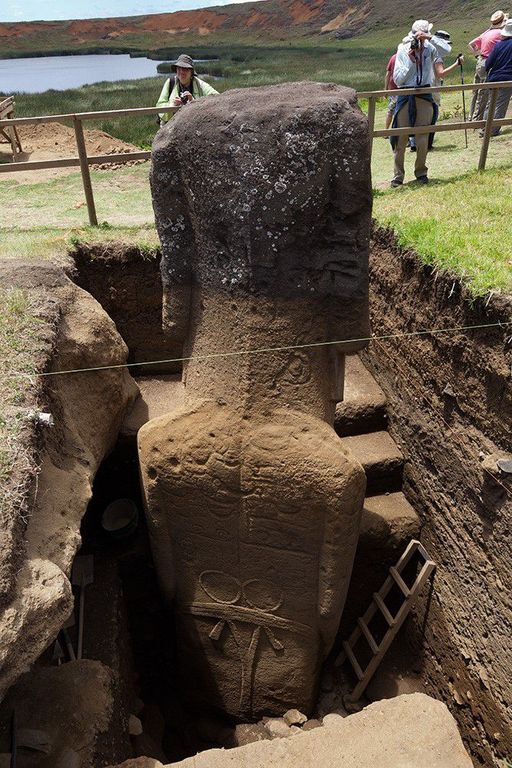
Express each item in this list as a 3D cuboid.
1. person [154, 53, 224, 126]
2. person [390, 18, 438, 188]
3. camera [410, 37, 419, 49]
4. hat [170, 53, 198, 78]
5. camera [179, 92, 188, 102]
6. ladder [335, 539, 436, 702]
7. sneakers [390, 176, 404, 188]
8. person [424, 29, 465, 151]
[{"bbox_3d":[-0.694,-2.698,5.571,0.520,0.522,0.990,-18,31,-24],"label":"person"},{"bbox_3d":[1.567,-2.792,6.118,0.413,1.483,0.684,3,29,14],"label":"person"},{"bbox_3d":[1.508,-3.248,5.792,0.077,0.112,0.130,2,28,12],"label":"camera"},{"bbox_3d":[-0.623,-2.690,5.201,0.271,0.181,0.325,-2,25,-5],"label":"hat"},{"bbox_3d":[-0.643,-2.568,5.447,0.086,0.035,0.117,6,-10,-8],"label":"camera"},{"bbox_3d":[0.786,1.477,3.873,0.732,0.905,0.386,-16,30,-21],"label":"ladder"},{"bbox_3d":[1.466,-2.099,6.309,0.071,0.082,0.193,1,36,10],"label":"sneakers"},{"bbox_3d":[2.196,-3.394,7.073,0.459,1.328,0.445,8,47,18],"label":"person"}]
